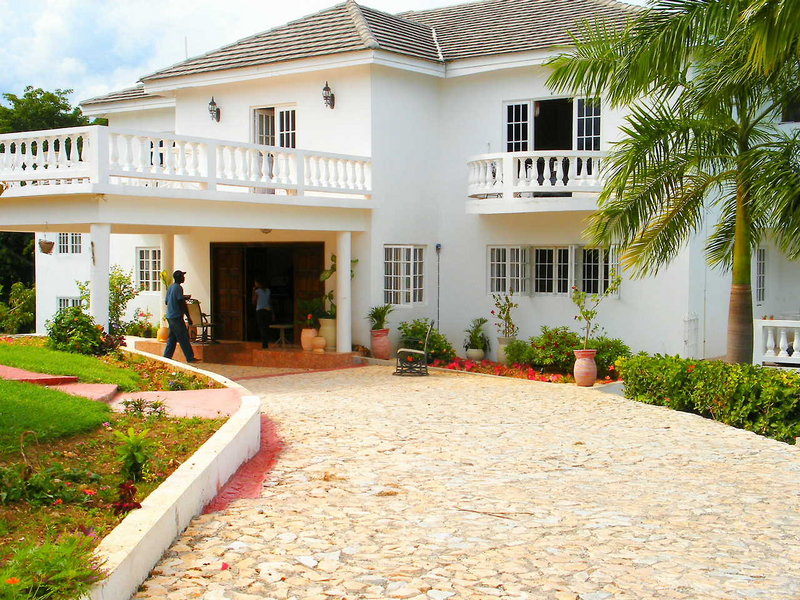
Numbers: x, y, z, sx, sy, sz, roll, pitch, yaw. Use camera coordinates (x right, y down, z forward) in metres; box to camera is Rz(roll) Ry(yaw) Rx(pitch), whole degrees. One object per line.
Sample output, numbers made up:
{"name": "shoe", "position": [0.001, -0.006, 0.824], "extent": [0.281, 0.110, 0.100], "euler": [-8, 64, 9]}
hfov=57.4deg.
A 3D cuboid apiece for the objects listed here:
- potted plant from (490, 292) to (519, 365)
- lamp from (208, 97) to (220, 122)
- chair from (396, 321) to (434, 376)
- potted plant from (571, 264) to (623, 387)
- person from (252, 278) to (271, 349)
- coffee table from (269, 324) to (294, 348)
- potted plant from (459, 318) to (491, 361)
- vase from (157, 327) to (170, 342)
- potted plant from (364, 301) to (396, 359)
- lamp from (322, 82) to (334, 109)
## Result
{"name": "potted plant", "position": [2.930, 0.743, 20.084], "extent": [0.680, 1.847, 1.037], "euler": [0, 4, 0]}
{"name": "lamp", "position": [-5.557, -5.734, 21.882], "extent": [0.309, 0.701, 0.189], "euler": [1, 4, 18]}
{"name": "chair", "position": [0.342, 1.137, 17.764], "extent": [0.889, 1.350, 0.766], "euler": [3, -1, 5]}
{"name": "potted plant", "position": [4.752, 0.570, 17.560], "extent": [1.098, 2.582, 3.470], "euler": [1, 4, 15]}
{"name": "person", "position": [-3.857, 0.388, 20.544], "extent": [0.499, 1.823, 1.165], "euler": [-1, 4, -11]}
{"name": "coffee table", "position": [-3.424, 1.003, 21.229], "extent": [0.655, 0.555, 0.700], "euler": [-1, 3, -6]}
{"name": "potted plant", "position": [2.173, 1.151, 20.701], "extent": [0.590, 1.097, 0.680], "euler": [1, 5, 26]}
{"name": "vase", "position": [-7.184, 1.003, 22.228], "extent": [0.360, 0.383, 0.375], "euler": [9, 14, 28]}
{"name": "potted plant", "position": [-0.491, 0.832, 19.633], "extent": [0.705, 1.456, 0.712], "euler": [-2, 4, -20]}
{"name": "lamp", "position": [-2.014, -5.628, 19.993], "extent": [0.406, 0.728, 0.314], "euler": [2, 4, 34]}
